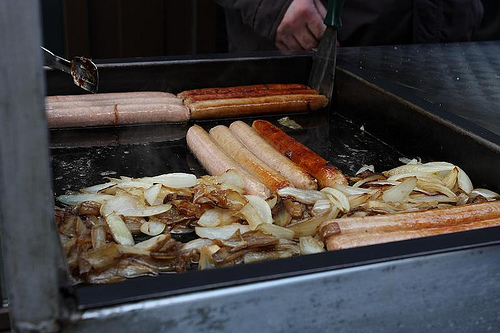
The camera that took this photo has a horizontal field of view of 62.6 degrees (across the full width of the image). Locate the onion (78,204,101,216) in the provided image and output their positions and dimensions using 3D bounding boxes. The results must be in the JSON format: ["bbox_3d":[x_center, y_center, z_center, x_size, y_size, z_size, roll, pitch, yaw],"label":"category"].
[{"bbox_3d":[-0.418,0.115,1.070,0.048,0.019,0.025,4,79,-6],"label":"onion"}]

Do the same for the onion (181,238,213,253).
[{"bbox_3d":[-0.127,0.177,0.944,0.049,0.011,0.029,-15,32,-23],"label":"onion"}]

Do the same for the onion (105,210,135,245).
[{"bbox_3d":[-0.323,0.151,1.013,0.049,0.019,0.084,-14,66,-50],"label":"onion"}]

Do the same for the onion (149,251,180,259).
[{"bbox_3d":[-0.189,0.197,0.908,0.066,0.022,0.010,-2,35,-15],"label":"onion"}]

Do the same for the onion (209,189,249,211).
[{"bbox_3d":[-0.054,0.092,1.060,0.086,0.037,0.047,11,58,-3],"label":"onion"}]

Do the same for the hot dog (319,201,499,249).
[{"bbox_3d":[0.371,0.139,0.967,0.271,0.069,0.043,-6,71,-8],"label":"hot dog"}]

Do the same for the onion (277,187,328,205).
[{"bbox_3d":[0.145,0.071,1.143,0.098,0.025,0.059,3,14,23],"label":"onion"}]

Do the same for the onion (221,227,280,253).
[{"bbox_3d":[0.003,0.157,0.952,0.095,0.040,0.061,-1,15,-38],"label":"onion"}]

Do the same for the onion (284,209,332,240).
[{"bbox_3d":[0.140,0.155,1.061,0.046,0.051,0.172,5,3,-22],"label":"onion"}]

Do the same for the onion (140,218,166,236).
[{"bbox_3d":[-0.243,0.153,1.033,0.038,0.011,0.046,42,52,15],"label":"onion"}]

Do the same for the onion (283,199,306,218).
[{"bbox_3d":[0.120,0.107,1.109,0.043,0.016,0.055,16,14,-43],"label":"onion"}]

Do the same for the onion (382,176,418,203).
[{"bbox_3d":[0.426,0.070,1.169,0.095,0.022,0.062,-39,80,-20],"label":"onion"}]

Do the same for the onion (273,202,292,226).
[{"bbox_3d":[0.084,0.127,1.080,0.040,0.012,0.048,-7,62,5],"label":"onion"}]

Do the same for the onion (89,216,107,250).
[{"bbox_3d":[-0.371,0.154,1.009,0.038,0.030,0.129,34,6,-28],"label":"onion"}]

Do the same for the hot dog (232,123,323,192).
[{"bbox_3d":[0.057,-0.056,1.451,0.117,0.092,0.528,-25,33,-16],"label":"hot dog"}]

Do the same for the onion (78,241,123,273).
[{"bbox_3d":[-0.323,0.198,0.885,0.088,0.025,0.057,-15,48,-15],"label":"onion"}]

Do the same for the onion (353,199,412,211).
[{"bbox_3d":[0.357,0.107,1.128,0.123,0.036,0.031,0,1,-5],"label":"onion"}]

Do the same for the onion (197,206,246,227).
[{"bbox_3d":[-0.081,0.128,1.082,0.142,0.081,0.025,-10,49,46],"label":"onion"}]

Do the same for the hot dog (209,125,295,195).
[{"bbox_3d":[-0.042,-0.033,1.429,0.101,0.102,0.538,-37,40,-10],"label":"hot dog"}]

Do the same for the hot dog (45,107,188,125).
[{"bbox_3d":[-0.483,-0.196,1.537,0.491,0.062,0.050,-3,35,-17],"label":"hot dog"}]

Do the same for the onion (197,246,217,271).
[{"bbox_3d":[-0.100,0.195,0.884,0.036,0.013,0.055,-4,78,-6],"label":"onion"}]

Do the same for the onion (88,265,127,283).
[{"bbox_3d":[-0.308,0.232,0.867,0.038,0.011,0.039,31,42,33],"label":"onion"}]

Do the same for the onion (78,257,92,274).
[{"bbox_3d":[-0.354,0.209,0.866,0.036,0.022,0.021,18,35,14],"label":"onion"}]

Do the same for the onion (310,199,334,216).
[{"bbox_3d":[0.197,0.109,1.121,0.056,0.019,0.034,-28,65,-29],"label":"onion"}]

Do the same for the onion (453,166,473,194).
[{"bbox_3d":[0.652,0.039,1.295,0.061,0.023,0.076,-11,70,-50],"label":"onion"}]

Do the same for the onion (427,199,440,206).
[{"bbox_3d":[0.531,0.104,1.183,0.041,0.013,0.017,-4,36,-19],"label":"onion"}]

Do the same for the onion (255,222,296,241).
[{"bbox_3d":[0.066,0.156,0.995,0.070,0.020,0.047,6,15,-17],"label":"onion"}]

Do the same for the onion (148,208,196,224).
[{"bbox_3d":[-0.202,0.124,1.040,0.075,0.016,0.050,-2,66,-19],"label":"onion"}]

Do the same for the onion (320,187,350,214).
[{"bbox_3d":[0.228,0.090,1.141,0.046,0.029,0.103,13,4,-16],"label":"onion"}]

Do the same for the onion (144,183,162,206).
[{"bbox_3d":[-0.262,0.072,1.108,0.038,0.014,0.060,11,49,15],"label":"onion"}]

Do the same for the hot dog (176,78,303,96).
[{"bbox_3d":[-0.066,-0.331,1.722,0.429,0.081,0.046,-2,45,-3],"label":"hot dog"}]

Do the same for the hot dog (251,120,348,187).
[{"bbox_3d":[0.117,-0.074,1.467,0.102,0.093,0.570,3,20,-33],"label":"hot dog"}]

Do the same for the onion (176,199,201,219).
[{"bbox_3d":[-0.163,0.113,1.075,0.061,0.015,0.035,36,73,15],"label":"onion"}]
